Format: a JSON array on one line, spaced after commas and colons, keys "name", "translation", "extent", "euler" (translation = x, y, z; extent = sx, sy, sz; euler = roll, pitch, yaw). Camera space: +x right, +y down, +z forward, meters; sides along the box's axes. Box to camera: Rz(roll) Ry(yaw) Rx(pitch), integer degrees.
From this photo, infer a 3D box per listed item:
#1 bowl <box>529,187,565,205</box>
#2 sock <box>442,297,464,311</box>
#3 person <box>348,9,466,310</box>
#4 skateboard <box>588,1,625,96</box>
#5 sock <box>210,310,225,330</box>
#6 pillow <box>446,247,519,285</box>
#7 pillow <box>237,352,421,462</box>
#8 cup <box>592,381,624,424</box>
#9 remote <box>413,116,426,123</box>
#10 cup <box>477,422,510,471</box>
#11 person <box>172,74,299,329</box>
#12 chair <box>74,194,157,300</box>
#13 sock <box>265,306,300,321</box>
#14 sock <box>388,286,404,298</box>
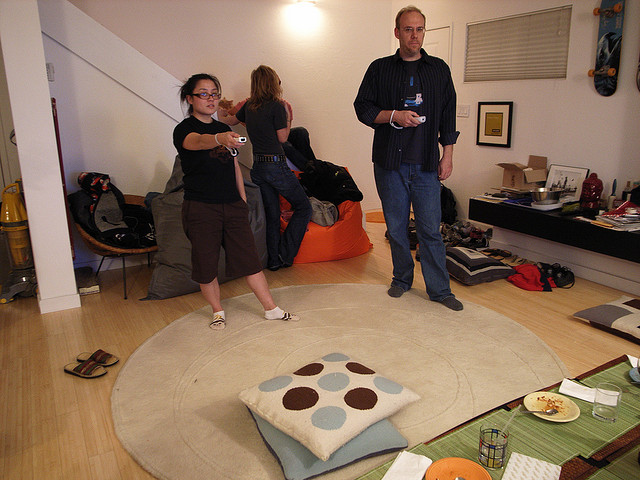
[{"name": "bowl", "translation": [2.118, -0.416, 4.109], "extent": [0.186, 0.081, 0.210], "euler": [-3, 2, -26]}, {"name": "sock", "translation": [1.055, 0.507, 3.456], "extent": [0.076, 0.054, 0.141], "euler": [-15, 16, -30]}, {"name": "person", "translation": [0.693, -0.566, 3.375], "extent": [0.788, 2.205, 0.418], "euler": [0, 17, 9]}, {"name": "skateboard", "translation": [2.546, -1.705, 3.896], "extent": [0.237, 0.809, 0.154], "euler": [12, 23, 42]}, {"name": "sock", "translation": [-0.779, 0.600, 3.326], "extent": [0.112, 0.113, 0.157], "euler": [-7, 16, -12]}, {"name": "pillow", "translation": [1.458, 0.241, 3.977], "extent": [0.389, 0.115, 0.395], "euler": [1, 14, -21]}, {"name": "pillow", "translation": [0.070, 0.833, 2.336], "extent": [0.719, 0.189, 0.660], "euler": [-9, 15, -40]}, {"name": "cup", "translation": [1.282, 0.734, 1.956], "extent": [0.132, 0.191, 0.124], "euler": [3, 0, 0]}, {"name": "remote", "translation": [0.726, -0.878, 3.187], "extent": [0.075, 0.030, 0.042], "euler": [10, 61, 34]}, {"name": "cup", "translation": [0.695, 0.839, 1.768], "extent": [0.114, 0.129, 0.123], "euler": [7, -7, 1]}, {"name": "person", "translation": [-0.672, -0.232, 3.133], "extent": [0.577, 1.803, 0.621], "euler": [-14, 20, -33]}, {"name": "chair", "translation": [-1.753, 0.045, 4.180], "extent": [0.902, 0.876, 0.865], "euler": [-1, 16, -17]}, {"name": "sock", "translation": [-0.295, 0.576, 3.401], "extent": [0.284, 0.108, 0.097], "euler": [-1, 5, 1]}, {"name": "sock", "translation": [0.635, 0.438, 3.686], "extent": [0.114, 0.066, 0.086], "euler": [3, 17, 21]}]
